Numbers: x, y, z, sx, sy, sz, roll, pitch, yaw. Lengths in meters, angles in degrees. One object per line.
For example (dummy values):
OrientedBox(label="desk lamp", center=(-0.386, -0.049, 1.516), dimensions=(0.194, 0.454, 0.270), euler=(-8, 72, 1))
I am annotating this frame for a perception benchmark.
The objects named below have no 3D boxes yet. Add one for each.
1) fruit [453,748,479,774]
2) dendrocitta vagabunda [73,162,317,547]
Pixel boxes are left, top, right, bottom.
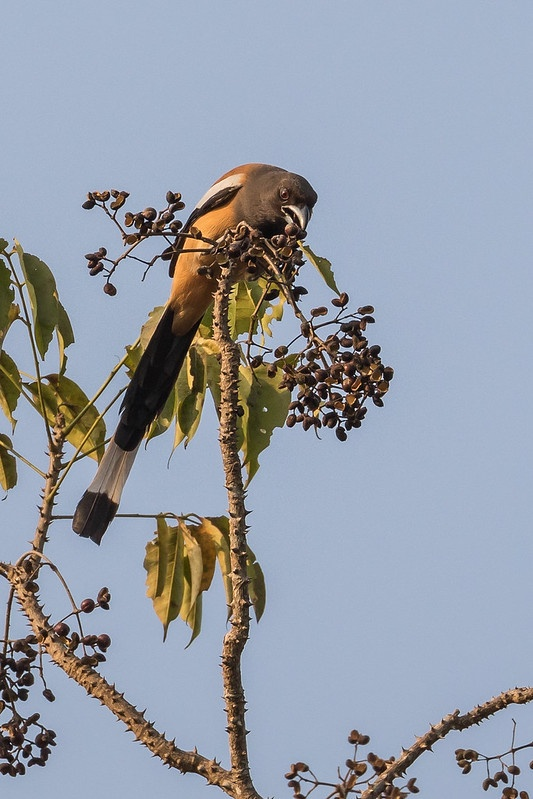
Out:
OrientedBox(label="fruit", center=(0.446, 0.816, 3.677), dimensions=(0.046, 0.060, 0.022), euler=(3, -33, 11))
OrientedBox(label="dendrocitta vagabunda", center=(-0.148, -0.088, 3.782), dimensions=(0.240, 0.921, 0.367), euler=(30, 0, -35))
